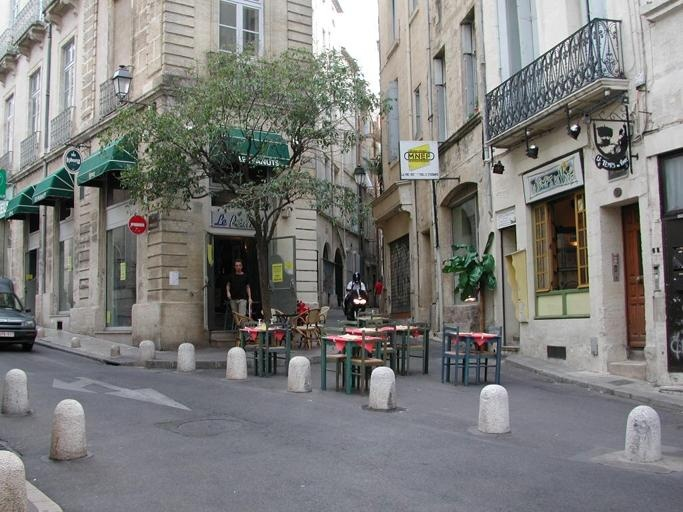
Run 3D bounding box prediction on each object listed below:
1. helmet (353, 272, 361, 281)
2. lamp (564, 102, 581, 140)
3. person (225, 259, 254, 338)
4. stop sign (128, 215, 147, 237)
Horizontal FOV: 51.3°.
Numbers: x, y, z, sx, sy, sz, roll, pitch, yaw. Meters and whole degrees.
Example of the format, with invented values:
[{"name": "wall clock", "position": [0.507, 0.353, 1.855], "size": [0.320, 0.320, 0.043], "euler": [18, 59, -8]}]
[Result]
[{"name": "helmet", "position": [0.539, 0.690, 24.437], "size": [0.215, 0.292, 0.306], "euler": [0, -9, -3]}, {"name": "lamp", "position": [5.164, -2.941, 15.798], "size": [0.319, 0.764, 1.048], "euler": [-2, -8, 19]}, {"name": "person", "position": [-3.178, 1.262, 22.042], "size": [0.653, 2.263, 0.657], "euler": [0, 9, 3]}, {"name": "stop sign", "position": [-6.287, -0.963, 21.979], "size": [0.579, 0.682, 0.167], "euler": [-2, -5, -22]}]
